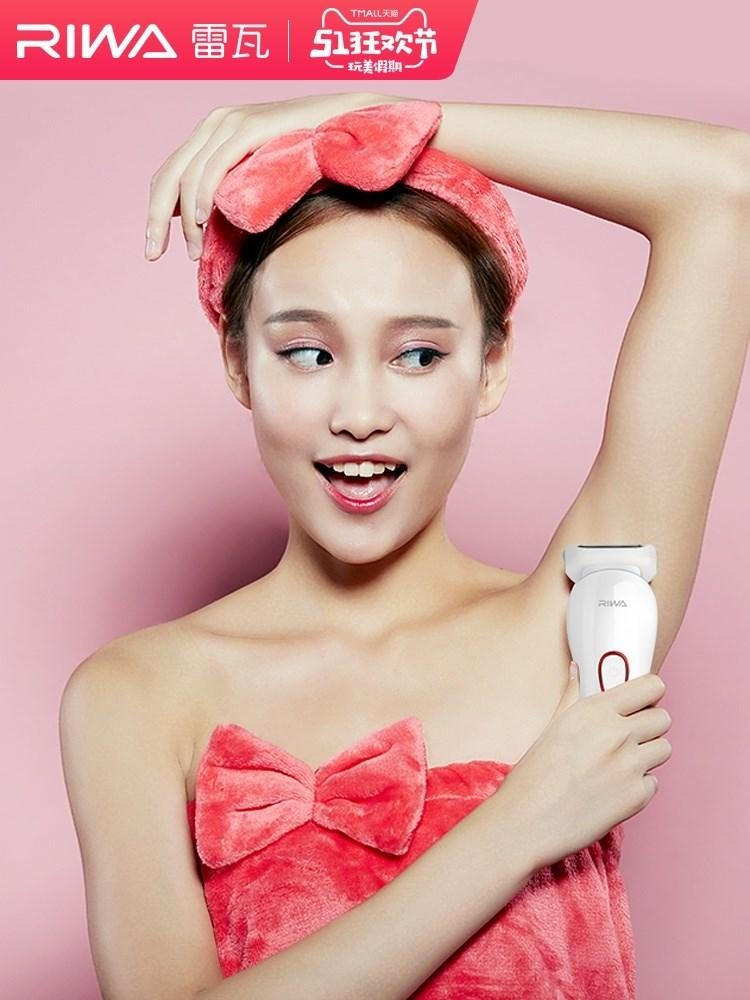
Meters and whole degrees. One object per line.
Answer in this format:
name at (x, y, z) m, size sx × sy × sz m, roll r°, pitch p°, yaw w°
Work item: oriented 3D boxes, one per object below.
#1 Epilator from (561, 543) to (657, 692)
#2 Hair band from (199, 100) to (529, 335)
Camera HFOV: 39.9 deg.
Epilator at (0.237, 0.133, 1.037) m, size 0.086 × 0.193 × 0.048 m, roll -3°, pitch 19°, yaw 8°
Hair band at (-0.012, -0.301, 1.092) m, size 0.273 × 0.104 × 0.265 m, roll -1°, pitch -19°, yaw 0°
